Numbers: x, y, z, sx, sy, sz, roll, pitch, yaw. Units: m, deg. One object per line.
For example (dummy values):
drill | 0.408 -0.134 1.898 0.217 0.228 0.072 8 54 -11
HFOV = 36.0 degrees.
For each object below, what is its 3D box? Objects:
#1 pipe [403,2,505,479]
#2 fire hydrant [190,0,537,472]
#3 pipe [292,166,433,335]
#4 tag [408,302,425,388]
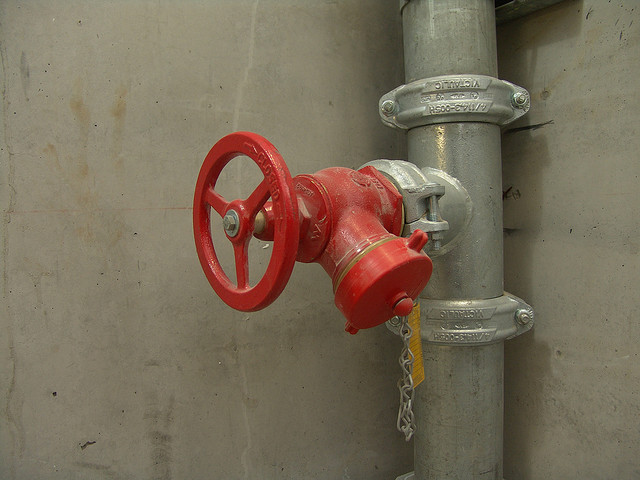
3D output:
pipe | 0.391 0.006 2.844 0.268 1.386 0.238 -1 -4 6
fire hydrant | 0.179 0.000 2.798 0.967 1.384 0.630 -1 -5 -4
pipe | 0.110 0.013 2.599 0.367 0.442 0.192 -2 -5 10
tag | 0.260 0.286 2.768 0.019 0.253 0.049 16 -34 -32
